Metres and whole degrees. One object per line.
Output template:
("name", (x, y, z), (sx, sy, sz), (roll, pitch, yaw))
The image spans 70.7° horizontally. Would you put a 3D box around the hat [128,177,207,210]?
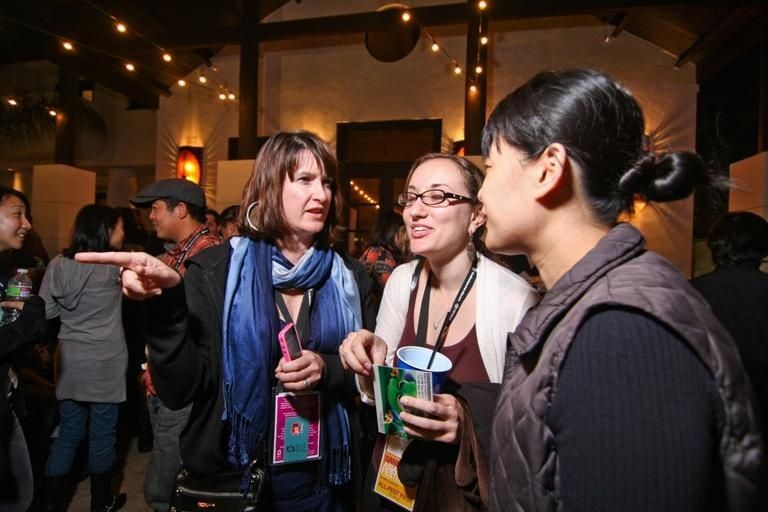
("hat", (-1.865, -0.553, 4.755), (0.483, 0.212, 0.314), (10, -1, -7))
